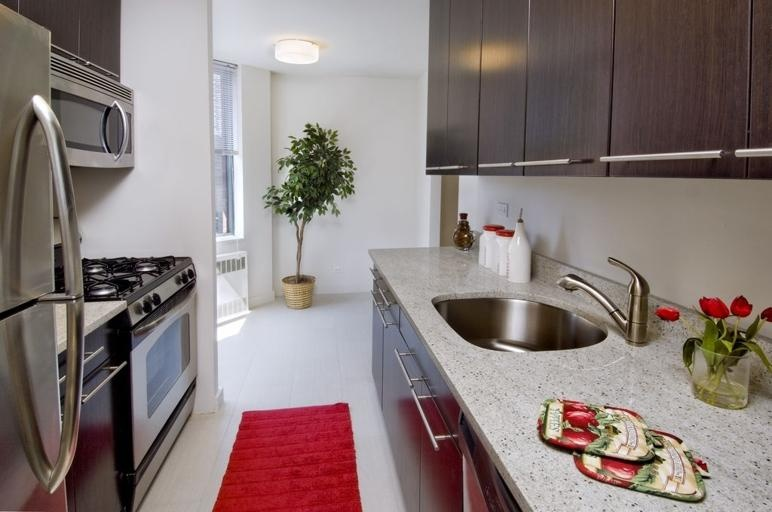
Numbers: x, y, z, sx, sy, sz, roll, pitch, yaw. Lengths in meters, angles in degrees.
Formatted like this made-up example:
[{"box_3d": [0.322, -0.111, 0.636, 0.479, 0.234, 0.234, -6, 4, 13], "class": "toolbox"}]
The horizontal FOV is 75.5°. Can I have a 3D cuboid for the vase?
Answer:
[{"box_3d": [0.995, 0.370, 1.574, 0.170, 0.194, 0.178, 1, 8, 8], "class": "vase"}]

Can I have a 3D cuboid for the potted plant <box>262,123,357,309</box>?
[{"box_3d": [-0.834, -0.445, 5.509, 0.976, 1.995, 0.830, -4, 14, -16], "class": "potted plant"}]

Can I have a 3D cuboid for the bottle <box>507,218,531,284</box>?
[{"box_3d": [0.700, -0.028, 2.556, 0.158, 0.310, 0.156, 0, 13, 0], "class": "bottle"}]

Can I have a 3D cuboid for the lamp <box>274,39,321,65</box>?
[{"box_3d": [-0.779, -1.851, 4.497, 0.425, 0.157, 0.284, -8, 15, -30], "class": "lamp"}]
